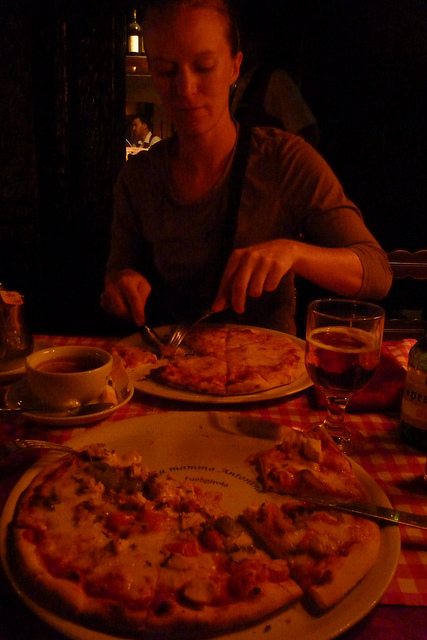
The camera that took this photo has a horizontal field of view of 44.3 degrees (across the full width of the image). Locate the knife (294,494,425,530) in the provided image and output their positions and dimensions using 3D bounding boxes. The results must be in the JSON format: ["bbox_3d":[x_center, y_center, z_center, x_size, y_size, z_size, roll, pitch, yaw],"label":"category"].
[{"bbox_3d":[0.176,0.238,0.648,0.157,0.028,0.041,7,14,22],"label":"knife"}]

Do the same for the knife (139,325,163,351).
[{"bbox_3d":[-0.168,0.042,1.397,0.025,0.033,0.179,-17,28,-10],"label":"knife"}]

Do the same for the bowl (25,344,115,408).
[{"bbox_3d":[-0.270,0.120,0.983,0.147,0.099,0.158,3,13,-1],"label":"bowl"}]

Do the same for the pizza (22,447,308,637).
[{"bbox_3d":[-0.083,0.241,0.610,0.259,0.048,0.329,-6,15,-28],"label":"pizza"}]

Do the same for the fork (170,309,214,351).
[{"bbox_3d":[-0.055,0.032,1.466,0.022,0.037,0.199,-10,26,44],"label":"fork"}]

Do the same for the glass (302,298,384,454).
[{"bbox_3d":[0.211,0.087,0.879,0.124,0.216,0.176,5,13,18],"label":"glass"}]

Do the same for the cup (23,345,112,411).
[{"bbox_3d":[-0.266,0.089,0.949,0.118,0.087,0.124,2,7,0],"label":"cup"}]
